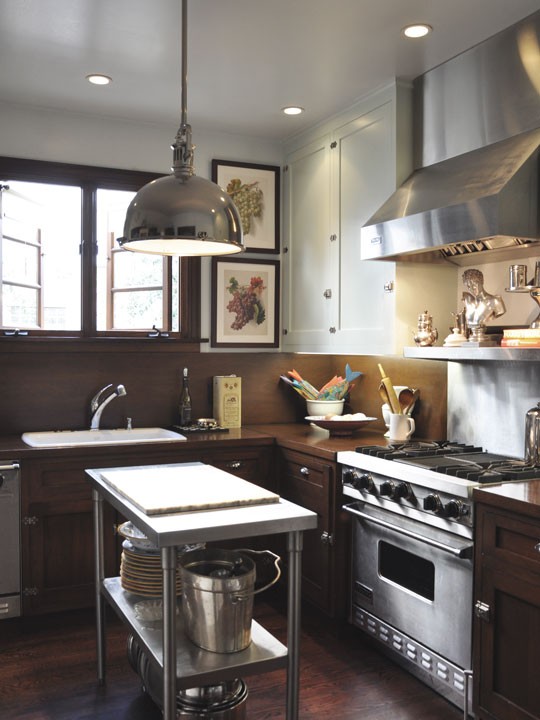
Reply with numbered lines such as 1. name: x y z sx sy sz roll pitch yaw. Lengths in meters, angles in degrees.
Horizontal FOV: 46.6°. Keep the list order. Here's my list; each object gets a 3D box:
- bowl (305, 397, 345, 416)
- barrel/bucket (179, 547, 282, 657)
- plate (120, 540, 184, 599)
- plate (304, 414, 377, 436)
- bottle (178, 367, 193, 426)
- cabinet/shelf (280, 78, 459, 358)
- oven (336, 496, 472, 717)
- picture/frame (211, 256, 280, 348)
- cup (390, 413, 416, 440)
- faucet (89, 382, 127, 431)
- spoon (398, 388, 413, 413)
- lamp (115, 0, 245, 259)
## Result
1. bowl: 0.322 0.293 3.778 0.214 0.099 0.177 0 0 13
2. barrel/bucket: -0.107 0.648 1.806 0.257 0.195 0.290 1 0 40
3. plate: -0.368 0.666 2.067 0.224 0.152 0.223 3 -3 -12
4. plate: 0.385 0.358 3.514 0.356 0.113 0.380 0 0 4
5. bottle: -0.502 0.220 3.745 0.083 0.339 0.193 0 0 -7
6. cabinet/shelf: 0.497 -0.703 3.033 0.459 1.255 1.304 2 -2 -19
7. oven: 0.541 0.935 2.465 0.553 0.663 0.719 2 0 -22
8. picture/frame: -0.175 -0.366 3.906 0.584 0.726 0.029 1 -2 -27
9. cup: 0.661 0.342 3.168 0.127 0.130 0.105 0 0 10
10. faucet: -0.910 0.264 3.552 0.206 0.255 0.150 0 0 -19
11. spoon: 0.715 0.207 3.295 0.048 0.157 0.026 8 0 26
12. lamp: -0.259 -0.759 1.846 0.349 0.920 0.588 0 0 -4
